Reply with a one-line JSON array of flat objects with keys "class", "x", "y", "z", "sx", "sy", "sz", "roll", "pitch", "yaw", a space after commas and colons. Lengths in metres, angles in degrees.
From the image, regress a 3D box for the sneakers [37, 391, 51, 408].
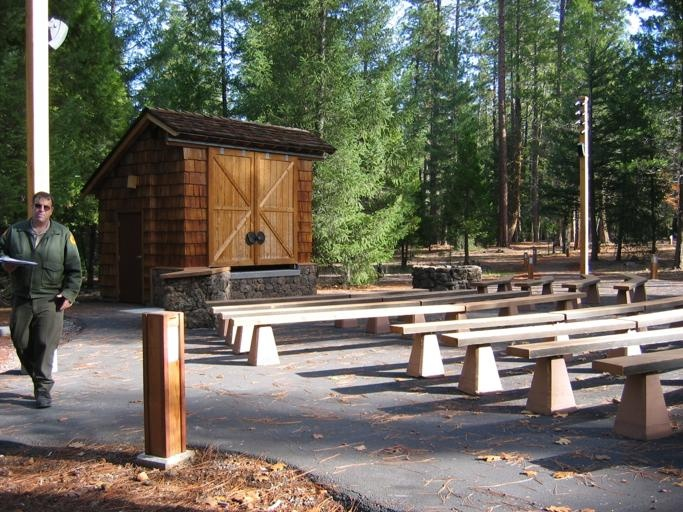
[{"class": "sneakers", "x": -3.683, "y": 1.755, "z": 8.608, "sx": 0.161, "sy": 0.188, "sz": 0.131, "roll": -5, "pitch": 10, "yaw": -23}]
